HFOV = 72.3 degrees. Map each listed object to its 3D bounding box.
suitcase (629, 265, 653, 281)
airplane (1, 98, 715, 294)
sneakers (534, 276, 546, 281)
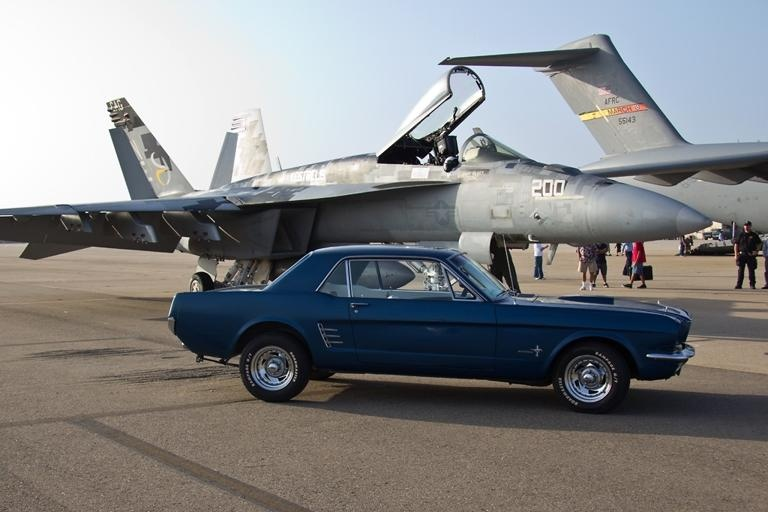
[{"bbox_3d":[10.052,0.663,20.260,1.093,0.505,0.891,0,5,15],"label":"suitcase"},{"bbox_3d":[-0.157,-1.133,12.810,11.999,2.053,10.468,1,4,25],"label":"airplane"},{"bbox_3d":[7.123,0.994,24.088,0.522,0.145,0.181,-3,-1,27],"label":"sneakers"}]
